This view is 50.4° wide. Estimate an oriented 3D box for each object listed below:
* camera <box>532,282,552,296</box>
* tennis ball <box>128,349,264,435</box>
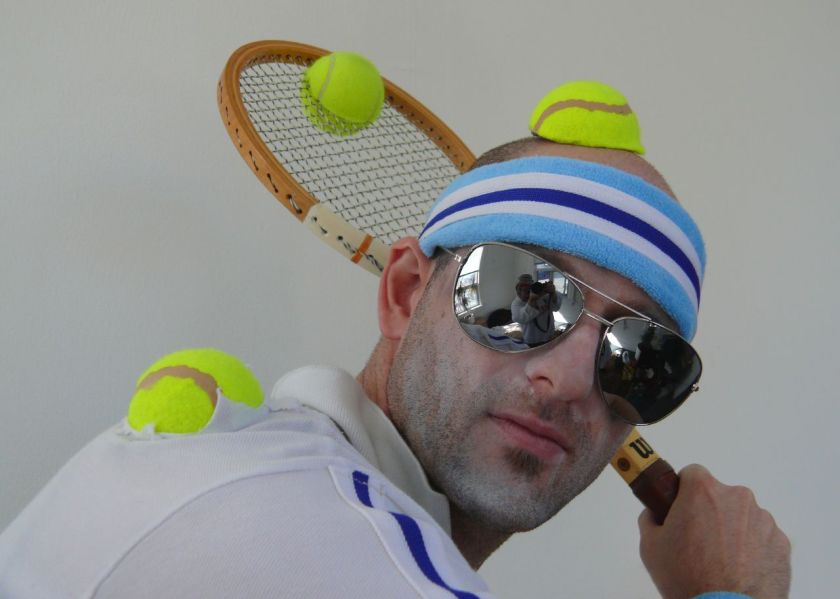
[{"bbox_3d":[0.240,-0.021,1.731,0.038,0.028,0.009,7,-7,21],"label":"camera"},{"bbox_3d":[-0.384,0.168,1.563,0.230,0.166,0.135,13,-9,-18],"label":"tennis ball"}]
